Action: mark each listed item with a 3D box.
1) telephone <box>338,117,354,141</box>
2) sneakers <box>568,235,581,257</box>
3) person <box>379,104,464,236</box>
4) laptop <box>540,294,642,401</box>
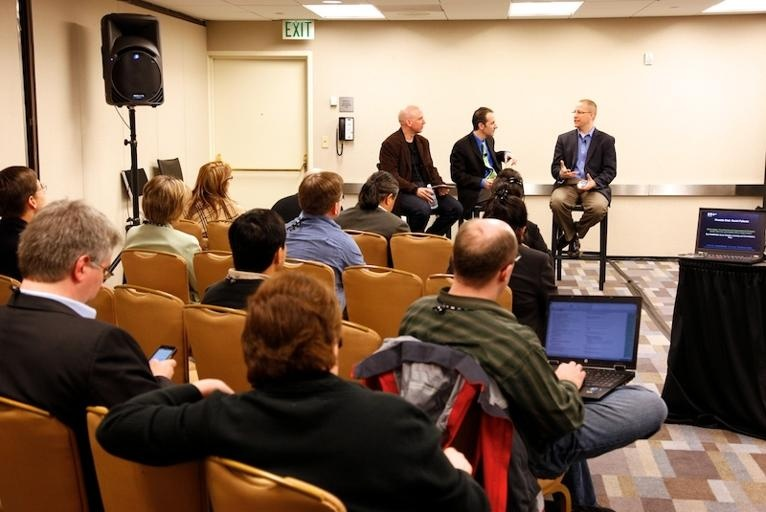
[{"bbox_3d":[-0.566,-1.949,8.727,0.285,0.446,0.229,1,9,4],"label":"telephone"},{"bbox_3d":[2.442,-0.121,7.340,0.126,0.176,0.406,1,15,14],"label":"sneakers"},{"bbox_3d":[0.537,-0.841,7.501,0.712,2.054,1.025,-11,2,-40],"label":"person"},{"bbox_3d":[1.046,0.384,2.854,0.493,0.401,0.462,5,17,21],"label":"laptop"}]
